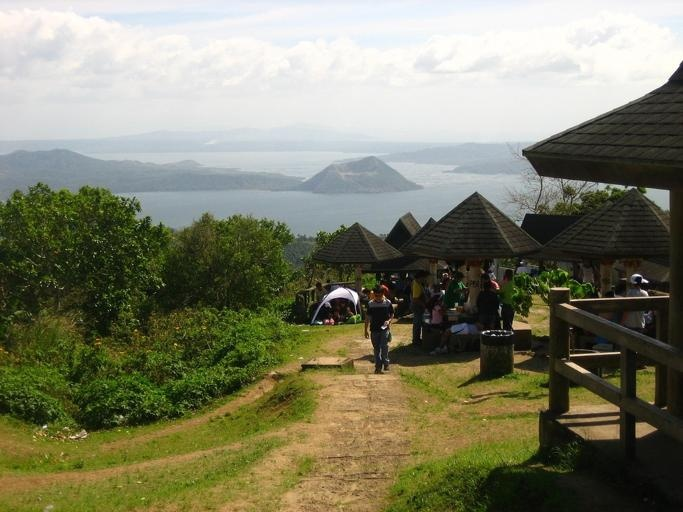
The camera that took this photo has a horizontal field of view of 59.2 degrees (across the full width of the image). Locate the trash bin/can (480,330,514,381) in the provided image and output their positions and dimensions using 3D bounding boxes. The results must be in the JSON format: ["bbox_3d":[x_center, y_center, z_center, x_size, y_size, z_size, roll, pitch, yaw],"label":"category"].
[{"bbox_3d":[3.458,2.219,13.384,0.694,0.927,0.533,2,3,10],"label":"trash bin/can"}]

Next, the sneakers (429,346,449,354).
[{"bbox_3d":[2.691,2.606,16.656,0.521,0.200,0.175,-1,-1,2],"label":"sneakers"}]
